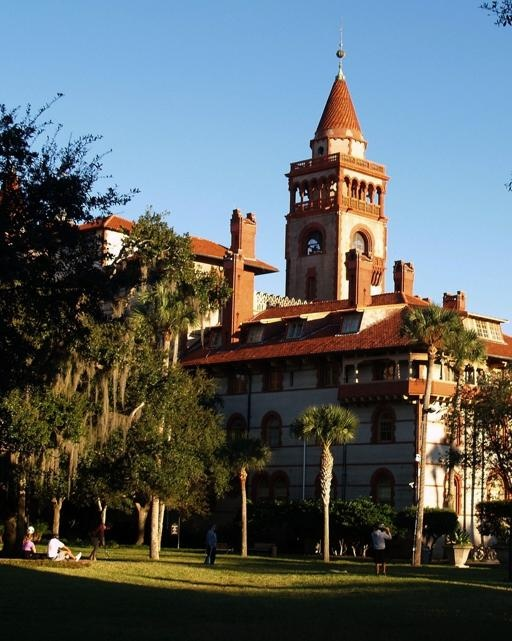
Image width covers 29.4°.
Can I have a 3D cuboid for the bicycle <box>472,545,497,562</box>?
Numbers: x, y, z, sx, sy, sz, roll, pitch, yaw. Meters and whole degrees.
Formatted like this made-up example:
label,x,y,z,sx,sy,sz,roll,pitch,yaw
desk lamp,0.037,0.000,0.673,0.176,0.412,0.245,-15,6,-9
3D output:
label,x,y,z,sx,sy,sz,roll,pitch,yaw
bicycle,10.090,10.313,42.862,0.857,0.783,1.173,-3,-7,32
